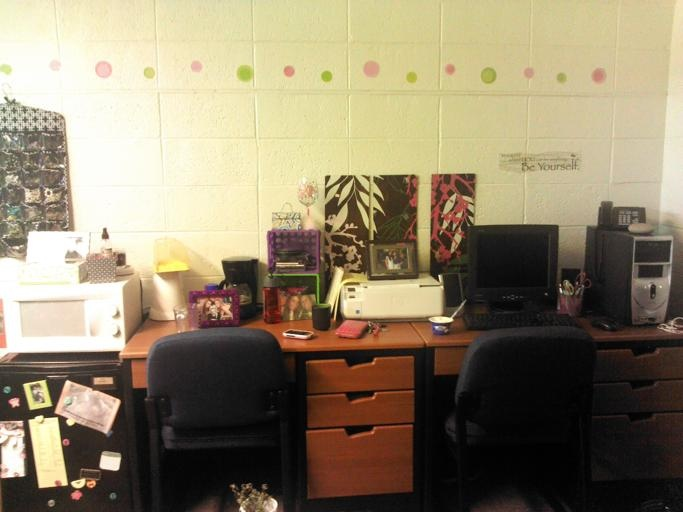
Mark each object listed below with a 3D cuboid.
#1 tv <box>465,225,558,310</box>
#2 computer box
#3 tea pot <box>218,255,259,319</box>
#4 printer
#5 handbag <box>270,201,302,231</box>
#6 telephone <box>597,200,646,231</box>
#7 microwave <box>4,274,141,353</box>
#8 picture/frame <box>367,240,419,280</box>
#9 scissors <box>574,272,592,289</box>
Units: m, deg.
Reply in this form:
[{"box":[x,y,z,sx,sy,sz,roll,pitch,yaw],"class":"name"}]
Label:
[{"box":[0.939,0.051,3.295,0.498,0.432,0.044,-1,6,-11],"class":"tv"},{"box":[1.531,0.090,3.306,0.364,0.569,0.369,2,9,5],"class":"computer box"},{"box":[-0.593,0.191,3.413,0.246,0.334,0.214,-1,3,-13],"class":"tea pot"},{"box":[0.263,0.229,3.438,0.566,0.206,0.553,-1,5,-2],"class":"printer"},{"box":[-0.332,-0.229,3.443,0.168,0.158,0.066,0,10,-3],"class":"handbag"},{"box":[1.586,-0.221,3.410,0.199,0.126,0.200,-1,1,9],"class":"telephone"},{"box":[-1.366,0.293,3.314,0.654,0.338,0.650,-1,5,-4],"class":"microwave"},{"box":[0.279,0.029,3.342,0.215,0.180,0.024,-1,-14,-3],"class":"picture/frame"},{"box":[1.385,0.139,3.424,0.088,0.090,0.024,1,-14,16],"class":"scissors"}]
